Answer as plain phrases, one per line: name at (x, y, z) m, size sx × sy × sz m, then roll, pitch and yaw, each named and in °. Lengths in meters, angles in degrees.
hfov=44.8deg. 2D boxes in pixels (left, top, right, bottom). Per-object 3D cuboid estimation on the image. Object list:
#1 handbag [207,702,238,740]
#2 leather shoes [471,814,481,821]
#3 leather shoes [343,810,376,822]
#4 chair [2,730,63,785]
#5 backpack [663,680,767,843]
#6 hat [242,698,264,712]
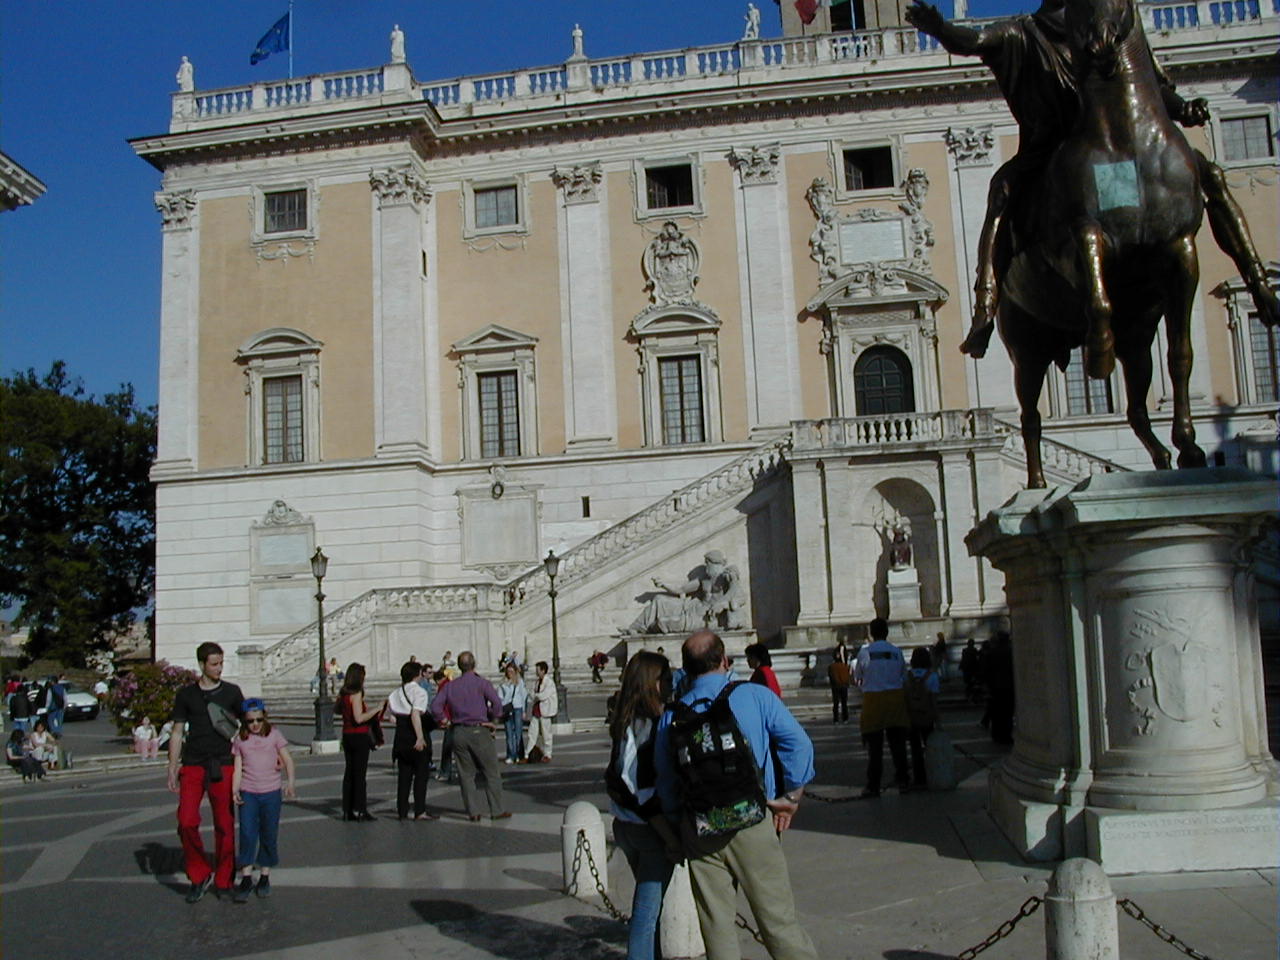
handbag at (-4.299, 2.456, 15.988) m, size 0.135 × 0.375 × 0.293 m, roll -36°, pitch 11°, yaw 24°
leather shoes at (-2.001, 4.088, 18.896) m, size 0.109 × 0.108 × 0.067 m, roll -6°, pitch -9°, yaw 27°
leather shoes at (-3.527, 4.171, 19.372) m, size 0.135 × 0.163 × 0.404 m, roll 5°, pitch 3°, yaw 27°
chair at (-10.844, 4.939, 27.626) m, size 0.809 × 1.066 × 1.793 m, roll 3°, pitch 8°, yaw -11°
backpack at (0.607, 2.251, 12.239) m, size 0.671 × 1.089 × 0.277 m, roll -5°, pitch -7°, yaw 10°
hat at (-4.037, 2.326, 16.160) m, size 0.201 × 0.100 × 0.300 m, roll 0°, pitch -8°, yaw -11°
